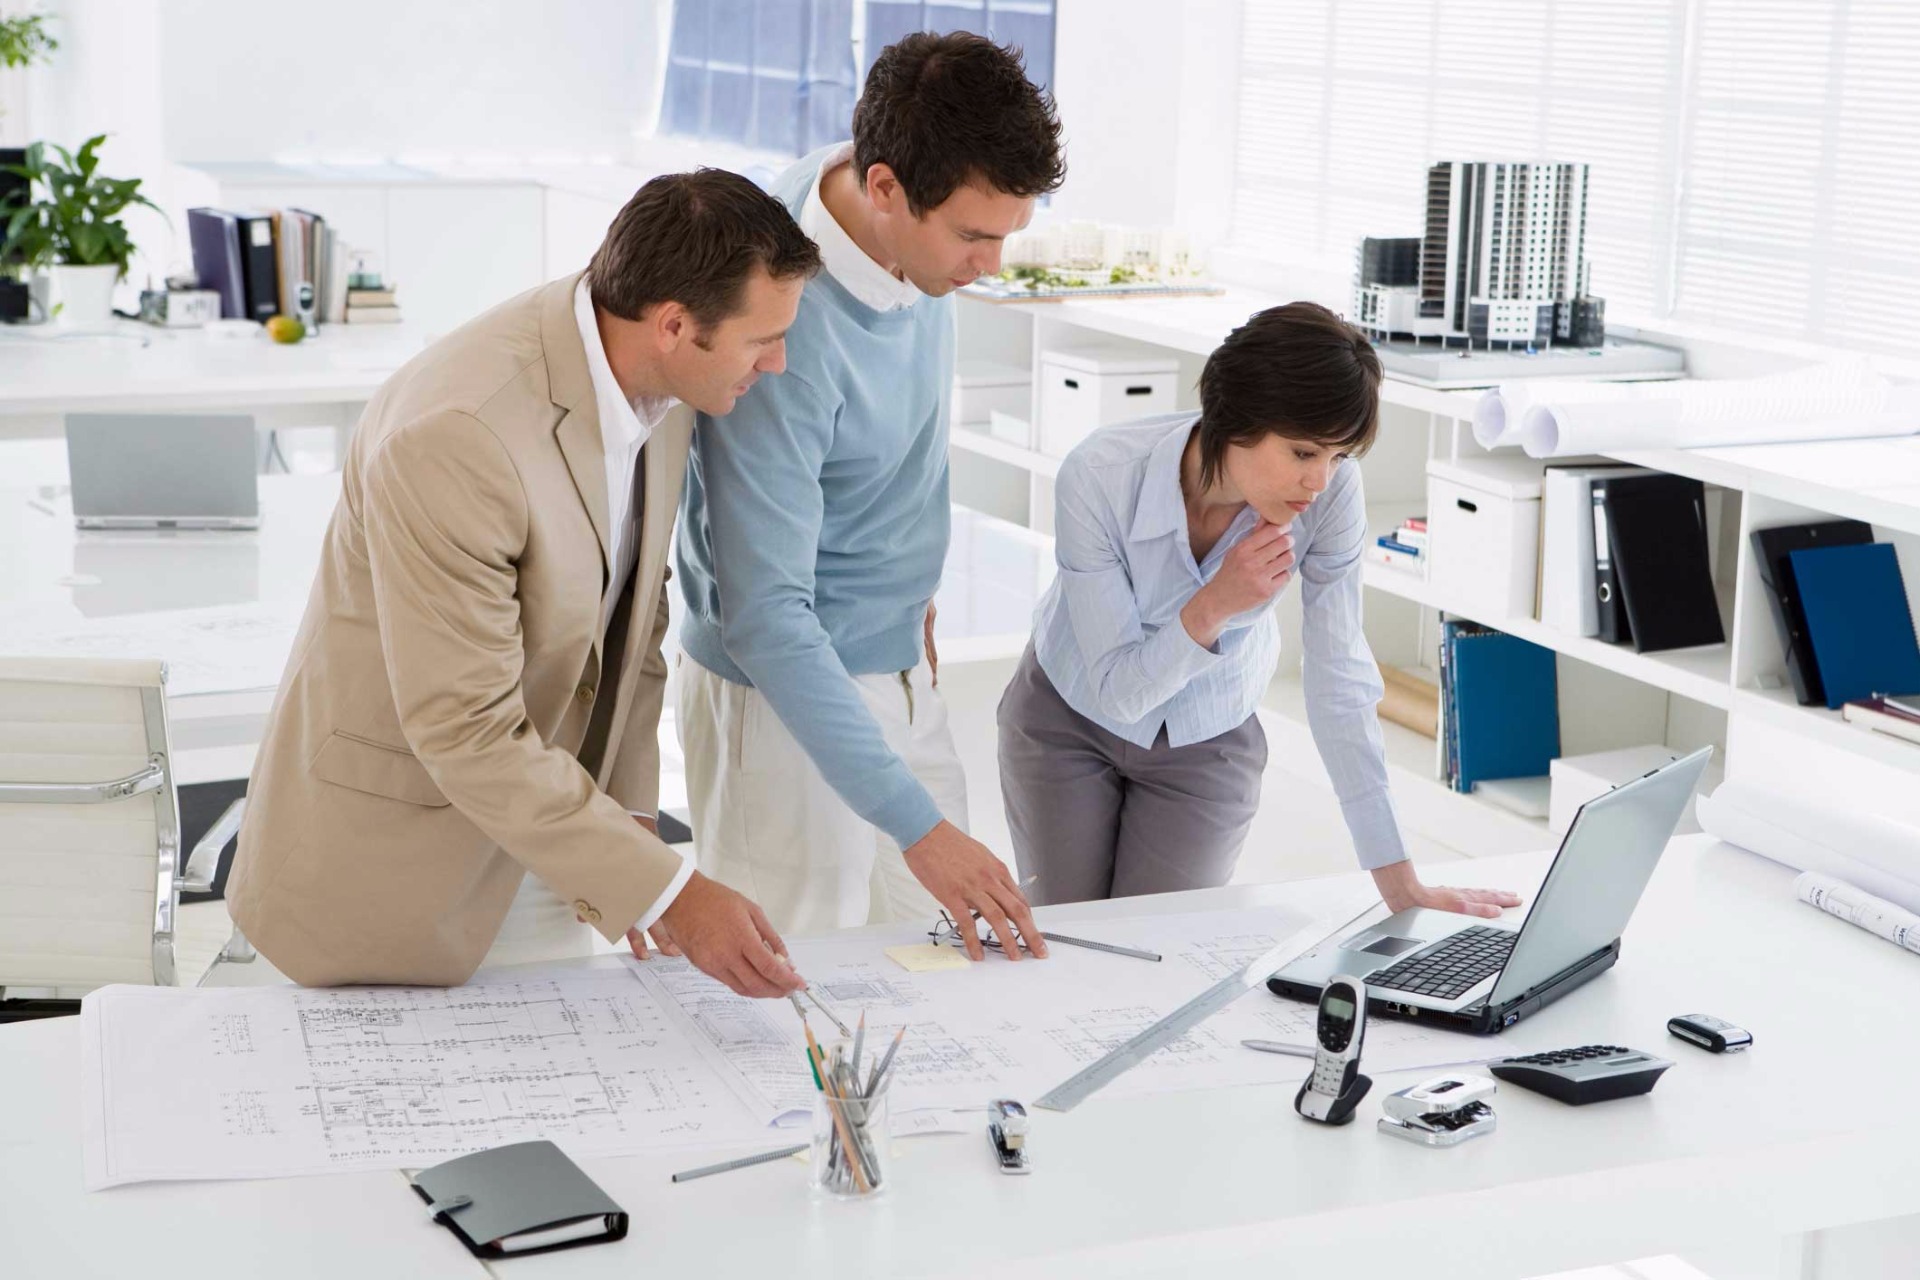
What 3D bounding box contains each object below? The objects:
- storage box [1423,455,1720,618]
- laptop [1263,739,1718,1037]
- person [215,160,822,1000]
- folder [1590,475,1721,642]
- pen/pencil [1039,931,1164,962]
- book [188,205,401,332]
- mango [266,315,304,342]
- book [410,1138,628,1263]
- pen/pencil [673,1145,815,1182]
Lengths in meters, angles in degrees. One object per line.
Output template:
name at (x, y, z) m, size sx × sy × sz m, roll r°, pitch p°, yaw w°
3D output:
storage box at (1.560, -0.321, 3.692) m, size 0.492 × 0.452 × 0.421 m, roll -4°, pitch 14°, yaw -23°
laptop at (0.693, 0.245, 2.075) m, size 0.667 × 0.388 × 0.559 m, roll -7°, pitch 14°, yaw -39°
person at (-0.547, -0.039, 1.864) m, size 0.583 × 1.276 × 0.614 m, roll -13°, pitch 29°, yaw -40°
folder at (1.700, -0.194, 3.467) m, size 0.304 × 0.414 × 0.106 m, roll -1°, pitch -3°, yaw -9°
pen/pencil at (0.199, 0.441, 2.047) m, size 0.143 × 0.013 × 0.014 m, roll 8°, pitch 9°, yaw 14°
book at (-2.904, -1.537, 5.961) m, size 0.498 × 0.319 × 0.641 m, roll -8°, pitch 16°, yaw -28°
mango at (-2.627, -1.191, 5.525) m, size 0.127 × 0.080 × 0.100 m, roll 16°, pitch 55°, yaw 31°
book at (-0.457, 0.580, 1.475) m, size 0.210 × 0.047 × 0.144 m, roll 13°, pitch 16°, yaw 43°
pen/pencil at (-0.238, 0.574, 1.560) m, size 0.160 × 0.021 × 0.023 m, roll -7°, pitch 44°, yaw -27°
